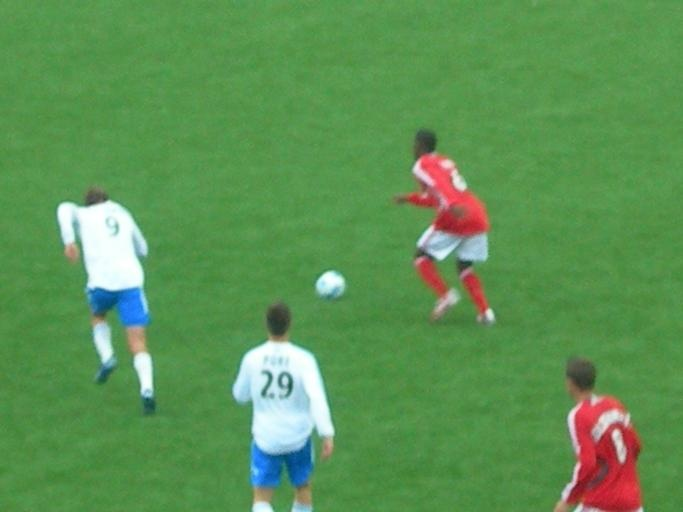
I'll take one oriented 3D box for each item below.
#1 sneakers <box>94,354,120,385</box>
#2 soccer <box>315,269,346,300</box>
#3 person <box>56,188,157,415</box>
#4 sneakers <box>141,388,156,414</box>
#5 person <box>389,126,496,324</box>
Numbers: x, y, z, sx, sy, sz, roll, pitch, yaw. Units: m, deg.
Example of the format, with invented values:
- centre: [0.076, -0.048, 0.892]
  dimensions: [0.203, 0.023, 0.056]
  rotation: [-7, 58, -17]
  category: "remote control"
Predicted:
- centre: [-2.864, 1.429, 17.860]
  dimensions: [0.164, 0.446, 0.199]
  rotation: [26, 31, -25]
  category: "sneakers"
- centre: [-0.143, 0.381, 18.498]
  dimensions: [0.381, 0.305, 0.224]
  rotation: [-2, 18, 1]
  category: "soccer"
- centre: [-2.727, 0.560, 17.719]
  dimensions: [1.312, 2.646, 0.919]
  rotation: [10, 21, 34]
  category: "person"
- centre: [-2.300, 1.766, 17.486]
  dimensions: [0.147, 0.368, 0.194]
  rotation: [-5, 18, -7]
  category: "sneakers"
- centre: [1.316, -0.286, 17.987]
  dimensions: [1.062, 2.401, 0.567]
  rotation: [1, 18, 12]
  category: "person"
